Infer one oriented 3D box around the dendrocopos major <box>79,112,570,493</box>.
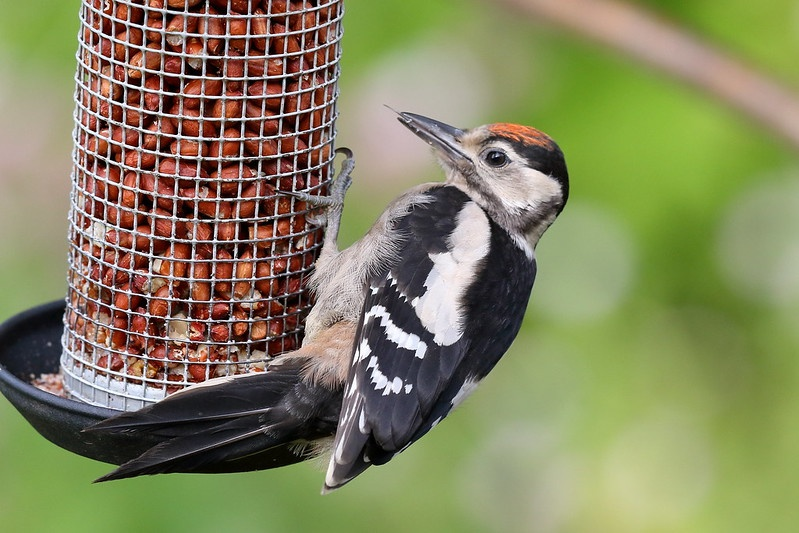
[{"bbox_3d":[-0.061,0.199,4.403,1.384,1.606,2.412,1,1,-6],"label":"dendrocopos major"}]
